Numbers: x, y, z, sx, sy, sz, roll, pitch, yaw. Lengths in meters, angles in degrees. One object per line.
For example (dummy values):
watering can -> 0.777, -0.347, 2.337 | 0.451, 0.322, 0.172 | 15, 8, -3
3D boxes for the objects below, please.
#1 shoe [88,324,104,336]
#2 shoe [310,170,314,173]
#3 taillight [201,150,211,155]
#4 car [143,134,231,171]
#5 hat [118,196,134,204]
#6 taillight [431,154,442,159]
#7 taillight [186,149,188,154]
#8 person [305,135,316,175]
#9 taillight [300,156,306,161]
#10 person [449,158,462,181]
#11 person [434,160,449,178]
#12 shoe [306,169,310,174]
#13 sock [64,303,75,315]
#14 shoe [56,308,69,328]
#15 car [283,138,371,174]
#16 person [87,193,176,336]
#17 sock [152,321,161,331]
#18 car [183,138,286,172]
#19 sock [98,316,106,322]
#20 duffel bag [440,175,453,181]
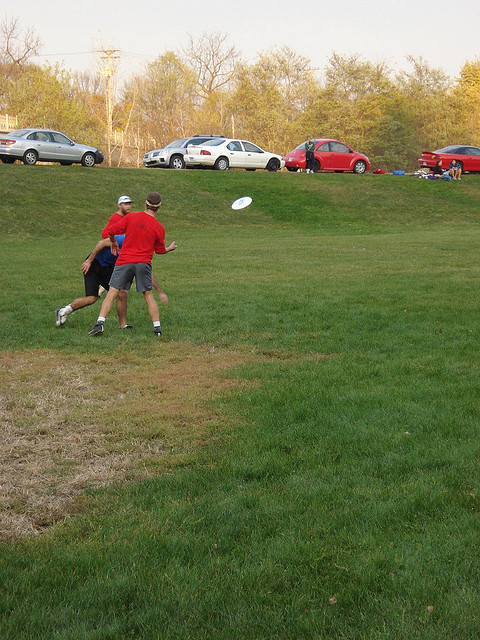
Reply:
shoe -> -1.454, 0.093, 9.981 | 0.151, 0.123, 0.171 | 0, 7, -13
shoe -> 2.395, -4.974, 32.857 | 0.125, 0.148, 0.050 | -2, 5, -16
taillight -> -1.030, -5.115, 29.950 | 0.335, 0.135, 0.065 | -3, 7, -35
car -> -1.679, -5.391, 30.707 | 2.521, 1.281, 1.214 | -1, 7, -17
hat -> -1.205, -1.266, 10.309 | 0.144, 0.096, 0.222 | -4, 6, -23
taillight -> 7.225, -6.069, 36.534 | 0.260, 0.093, 0.170 | 8, 1, -21
taillight -> -1.601, -5.124, 29.860 | 0.022, 0.132, 0.138 | -1, 7, -22
person -> 2.335, -5.425, 32.723 | 0.384, 1.169, 1.454 | 2, 7, 4
taillight -> 2.088, -5.370, 32.614 | 0.065, 0.147, 0.307 | -3, 9, -37
person -> 7.714, -5.403, 35.312 | 0.454, 0.728, 1.916 | 3, 7, 11
person -> 7.326, -5.554, 35.965 | 0.468, 0.948, 0.421 | 7, 35, 18
shoe -> 2.271, -4.973, 32.770 | 0.111, 0.150, 0.123 | -1, 4, 3
sock -> -1.775, -0.116, 10.323 | 0.066, 0.080, 0.087 | -33, 2, 5
shoe -> -1.871, -0.023, 10.332 | 0.094, 0.253, 0.077 | 2, 12, 1
car -> 2.953, -5.655, 33.737 | 1.162, 1.150, 3.368 | 8, 9, 44
person -> -1.065, -0.542, 10.122 | 0.737, 1.653, 0.455 | 8, -16, -7
sock -> -0.835, 0.061, 10.081 | 0.070, 0.115, 0.069 | -2, 7, 9
car -> -0.350, -5.275, 31.102 | 2.927, 1.109, 1.264 | -10, 18, -37
sock -> -1.394, -0.009, 9.953 | 0.063, 0.050, 0.102 | 1, 7, -8
duffel bag -> 7.172, -4.978, 34.327 | 0.428, 0.200, 0.464 | 3, 7, 11
